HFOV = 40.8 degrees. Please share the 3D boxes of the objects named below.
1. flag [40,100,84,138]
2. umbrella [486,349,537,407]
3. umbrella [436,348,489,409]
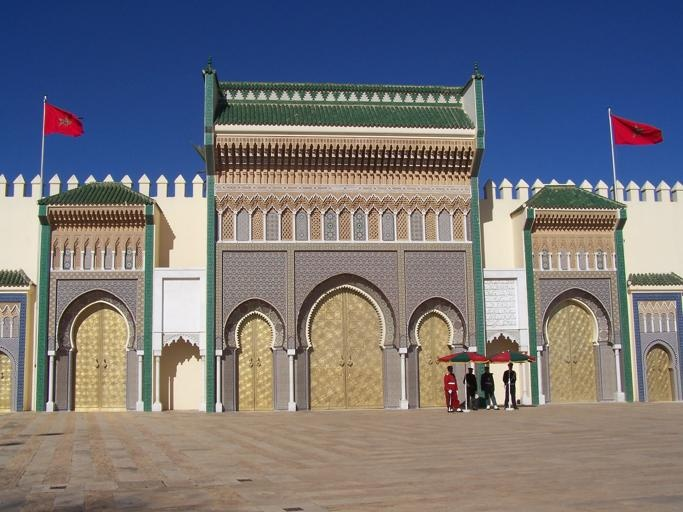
[{"bbox_3d":[-8.870,-4.406,29.441,1.345,1.514,0.126,-4,-30,-15],"label":"flag"},{"bbox_3d":[4.651,3.284,25.406,1.136,1.351,1.234,-4,0,-6],"label":"umbrella"},{"bbox_3d":[3.375,3.441,25.591,1.453,1.611,1.463,-2,-1,-24],"label":"umbrella"}]
